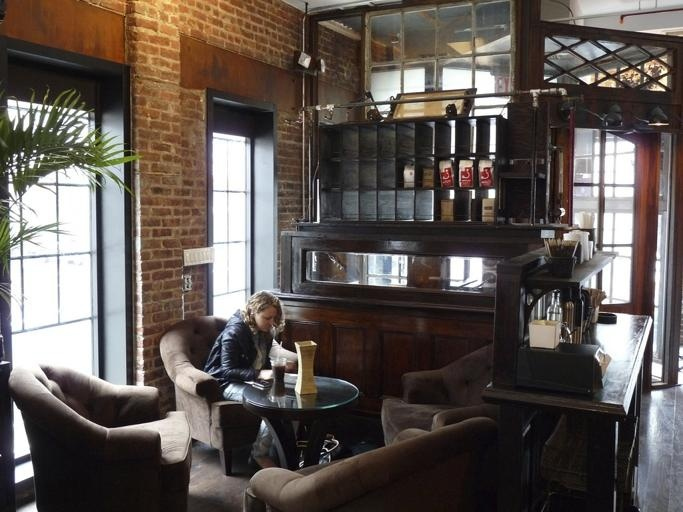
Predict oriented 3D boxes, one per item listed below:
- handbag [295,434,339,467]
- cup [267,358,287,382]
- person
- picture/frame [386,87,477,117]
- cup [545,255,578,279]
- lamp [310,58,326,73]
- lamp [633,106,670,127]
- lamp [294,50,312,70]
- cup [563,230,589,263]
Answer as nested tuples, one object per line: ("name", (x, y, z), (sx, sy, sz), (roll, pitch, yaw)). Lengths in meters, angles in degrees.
("handbag", (-0.124, 1.557, 4.670), (0.268, 0.135, 0.370), (0, 0, 13))
("cup", (-0.448, 0.828, 4.282), (0.140, 0.156, 0.145), (0, -1, 0))
("person", (-0.705, 0.953, 4.671), (0.759, 1.333, 0.550), (-2, -5, 31))
("picture/frame", (0.944, -1.555, 5.908), (0.648, 0.097, 0.391), (2, 47, 22))
("cup", (1.168, 0.063, 3.081), (0.127, 0.089, 0.109), (0, 0, 4))
("lamp", (-0.268, -2.111, 6.467), (0.111, 0.158, 0.211), (-1, 2, 27))
("lamp", (3.196, -1.421, 5.950), (0.227, 0.137, 0.317), (-1, 6, 2))
("lamp", (-0.408, -2.114, 6.285), (0.055, 0.197, 0.203), (11, 11, 35))
("cup", (1.349, -0.054, 3.359), (0.139, 0.194, 0.193), (0, 1, 14))
